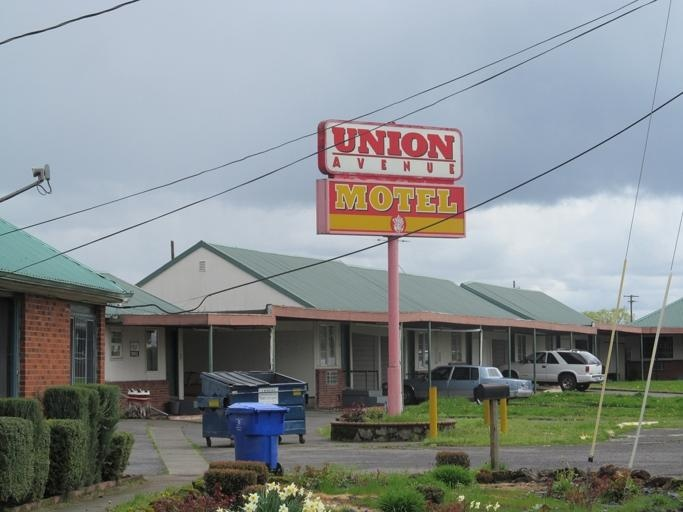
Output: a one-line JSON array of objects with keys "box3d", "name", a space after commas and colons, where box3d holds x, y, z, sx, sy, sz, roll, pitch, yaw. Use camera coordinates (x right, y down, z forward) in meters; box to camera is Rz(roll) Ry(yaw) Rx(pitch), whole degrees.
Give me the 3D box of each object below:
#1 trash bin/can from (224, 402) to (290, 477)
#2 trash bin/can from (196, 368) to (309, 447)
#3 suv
[{"box3d": [-1.679, 3.516, 20.133, 1.177, 1.623, 1.056, 2, -4, -33], "name": "trash bin/can"}, {"box3d": [-2.346, 4.095, 27.221, 2.760, 1.968, 1.596, 3, -6, -39], "name": "trash bin/can"}, {"box3d": [9.171, 5.061, 45.011, 3.965, 1.680, 2.042, 2, -2, 29], "name": "suv"}]
